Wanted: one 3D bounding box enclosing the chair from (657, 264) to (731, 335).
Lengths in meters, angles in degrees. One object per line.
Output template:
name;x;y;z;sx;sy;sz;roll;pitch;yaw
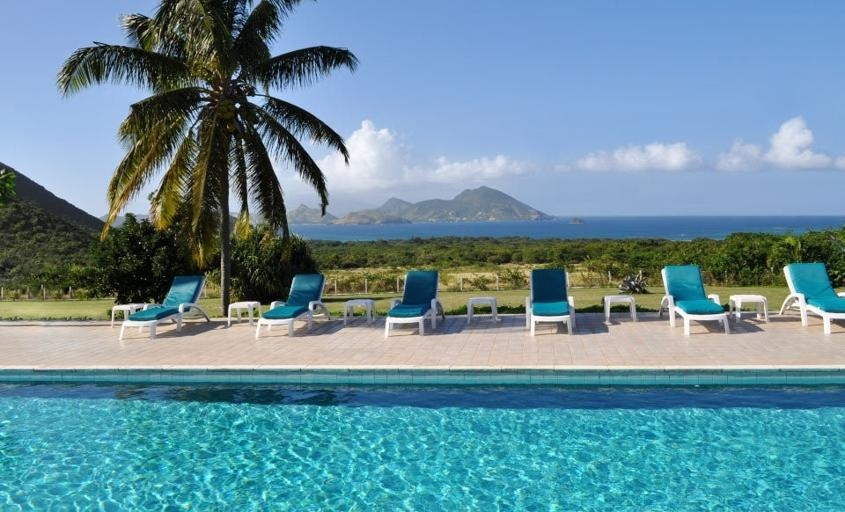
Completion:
chair;7.166;1.123;16.104;1.421;1.664;1.783;0;3;14

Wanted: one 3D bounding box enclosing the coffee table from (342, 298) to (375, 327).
coffee table;-1.852;1.651;17.859;0.888;0.648;0.850;-1;-6;0

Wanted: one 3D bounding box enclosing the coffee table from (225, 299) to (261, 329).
coffee table;-5.246;1.654;17.946;1.046;0.724;1.033;-1;-7;0

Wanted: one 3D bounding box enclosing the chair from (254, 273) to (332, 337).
chair;-3.561;1.350;17.134;1.276;1.552;2.390;0;3;14

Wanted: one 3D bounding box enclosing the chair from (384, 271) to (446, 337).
chair;-0.201;1.274;16.851;1.194;1.585;2.265;0;3;14

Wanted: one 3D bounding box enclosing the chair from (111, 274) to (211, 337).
chair;-7.220;1.394;17.534;1.752;1.557;2.905;-1;3;3

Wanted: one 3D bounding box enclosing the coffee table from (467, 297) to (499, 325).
coffee table;1.741;1.568;17.621;0.869;0.624;0.838;-1;-4;5

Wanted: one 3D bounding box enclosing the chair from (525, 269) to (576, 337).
chair;3.449;1.210;16.331;1.276;1.614;1.736;0;3;13
